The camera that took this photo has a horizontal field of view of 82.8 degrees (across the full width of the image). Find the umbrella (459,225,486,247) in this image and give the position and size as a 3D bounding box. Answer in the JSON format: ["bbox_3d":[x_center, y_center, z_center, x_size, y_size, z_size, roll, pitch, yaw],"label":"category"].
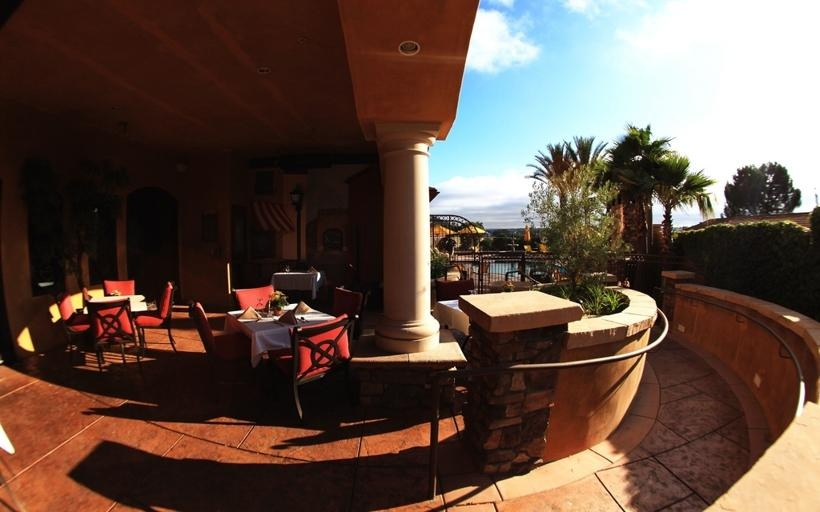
[{"bbox_3d":[2.149,-0.755,17.063,0.976,0.756,1.006,0,-2,8],"label":"umbrella"}]

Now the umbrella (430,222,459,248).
[{"bbox_3d":[1.107,-0.741,16.450,0.805,0.782,2.409,-3,4,2],"label":"umbrella"}]

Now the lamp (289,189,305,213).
[{"bbox_3d":[-3.603,-1.715,14.632,0.306,0.703,0.872,-4,4,-16],"label":"lamp"}]

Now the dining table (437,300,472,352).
[{"bbox_3d":[0.835,1.411,9.487,0.653,1.082,1.830,-3,4,5],"label":"dining table"}]
